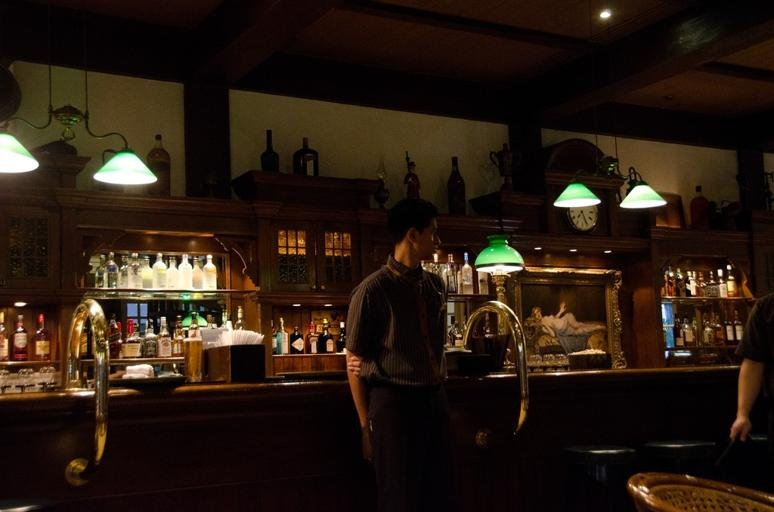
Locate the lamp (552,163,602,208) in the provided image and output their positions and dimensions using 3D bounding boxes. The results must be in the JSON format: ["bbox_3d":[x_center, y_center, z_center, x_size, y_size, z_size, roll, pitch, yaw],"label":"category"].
[{"bbox_3d":[1.995,-0.661,6.968,0.504,0.541,0.525,4,-2,-44],"label":"lamp"}]

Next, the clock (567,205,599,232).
[{"bbox_3d":[2.484,-0.480,8.409,0.340,0.342,0.075,9,-1,-32],"label":"clock"}]

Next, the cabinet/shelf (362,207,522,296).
[{"bbox_3d":[0.372,-0.095,3.820,0.754,0.377,0.243,1,0,-8],"label":"cabinet/shelf"}]

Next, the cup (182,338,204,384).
[{"bbox_3d":[-1.206,0.658,4.187,0.108,0.243,0.429,0,-2,-16],"label":"cup"}]

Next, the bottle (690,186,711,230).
[{"bbox_3d":[4.340,-0.609,9.261,0.257,0.475,0.276,0,-2,0],"label":"bottle"}]

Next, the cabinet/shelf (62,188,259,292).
[{"bbox_3d":[-2.178,-0.122,6.531,1.784,0.921,0.375,1,-3,-25],"label":"cabinet/shelf"}]

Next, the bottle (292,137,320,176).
[{"bbox_3d":[-0.882,-1.040,7.285,0.326,0.453,0.303,-2,7,0],"label":"bottle"}]

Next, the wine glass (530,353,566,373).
[{"bbox_3d":[1.240,0.830,5.229,0.175,0.080,0.237,0,0,-17],"label":"wine glass"}]

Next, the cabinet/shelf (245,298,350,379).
[{"bbox_3d":[-0.871,1.009,7.138,0.973,0.943,0.297,6,-11,-31],"label":"cabinet/shelf"}]

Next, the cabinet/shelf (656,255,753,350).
[{"bbox_3d":[4.436,0.729,9.211,1.138,1.090,0.303,0,-2,-11],"label":"cabinet/shelf"}]

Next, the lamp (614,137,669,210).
[{"bbox_3d":[2.580,-0.710,6.779,0.406,0.444,0.428,-6,-13,19],"label":"lamp"}]
